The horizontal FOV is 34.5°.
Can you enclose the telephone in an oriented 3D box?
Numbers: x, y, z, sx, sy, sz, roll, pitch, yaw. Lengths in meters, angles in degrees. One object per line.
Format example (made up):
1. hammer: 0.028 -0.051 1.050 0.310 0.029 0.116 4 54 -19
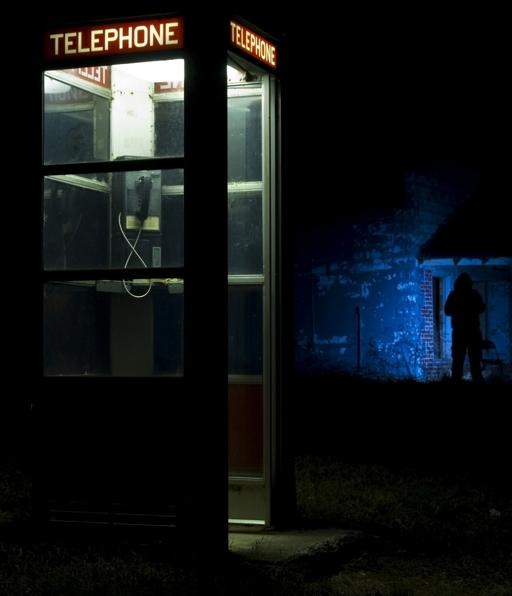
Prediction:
1. telephone: -0.663 -0.540 4.612 0.347 0.360 0.098 7 7 34
